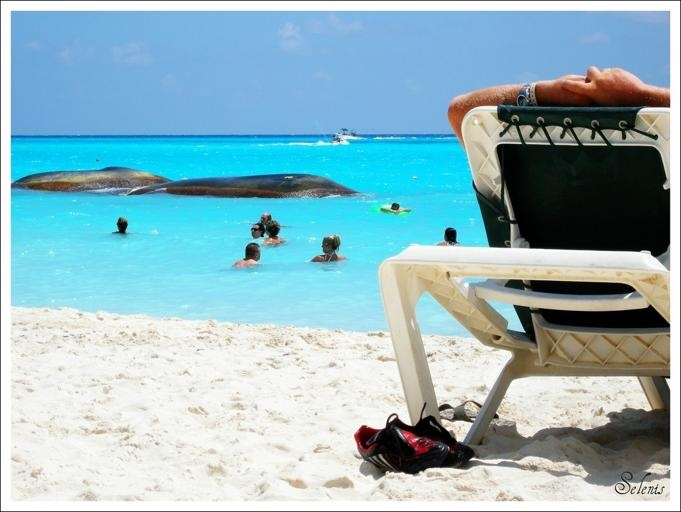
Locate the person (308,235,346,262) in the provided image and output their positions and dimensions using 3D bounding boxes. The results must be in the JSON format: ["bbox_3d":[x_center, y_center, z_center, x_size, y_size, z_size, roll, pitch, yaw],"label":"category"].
[{"bbox_3d":[-0.225,-0.138,13.150,0.676,0.588,0.906,0,7,-2],"label":"person"}]

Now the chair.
[{"bbox_3d":[1.068,0.184,3.679,1.370,2.004,0.925,4,8,25],"label":"chair"}]
